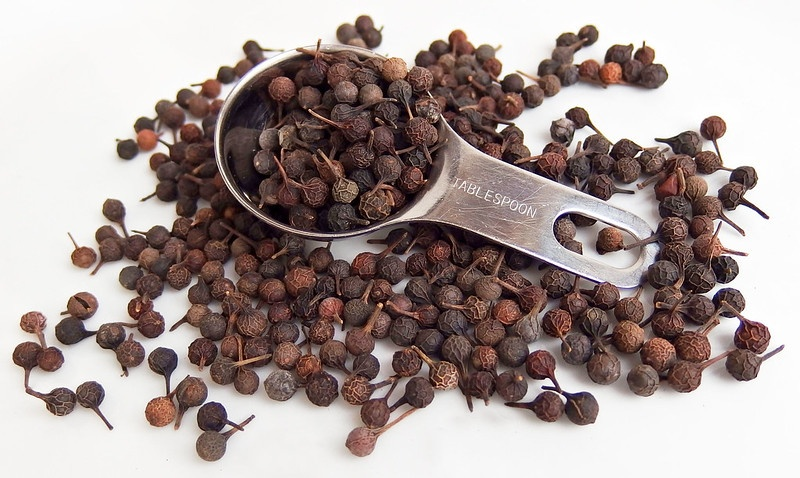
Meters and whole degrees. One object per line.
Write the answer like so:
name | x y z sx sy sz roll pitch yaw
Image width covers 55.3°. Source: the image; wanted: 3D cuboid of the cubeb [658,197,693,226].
cubeb | 2.204 -0.250 6.200 0.186 0.234 0.198 -45 -27 -3
